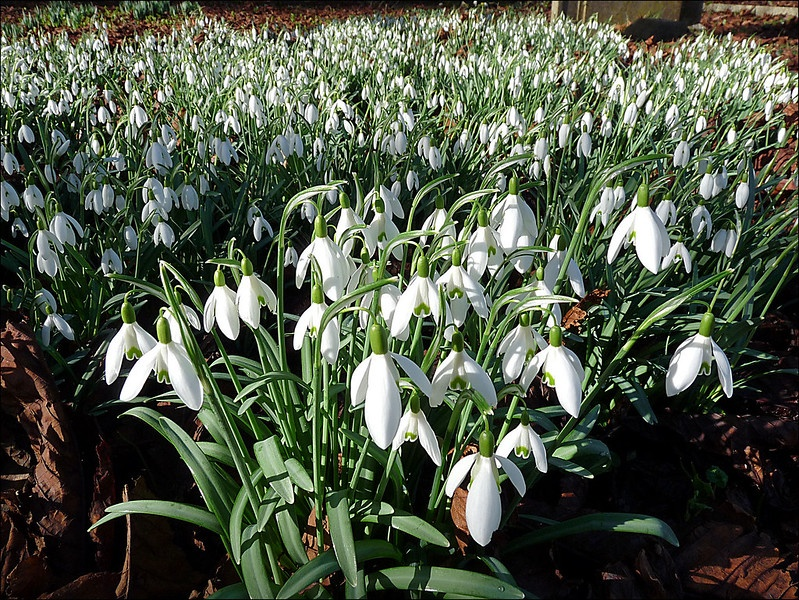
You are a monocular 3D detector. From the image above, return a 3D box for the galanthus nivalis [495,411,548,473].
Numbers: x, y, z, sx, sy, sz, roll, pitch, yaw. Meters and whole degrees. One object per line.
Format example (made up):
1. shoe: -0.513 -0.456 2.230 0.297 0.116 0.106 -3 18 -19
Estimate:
1. galanthus nivalis: 0.300 0.320 1.554 0.093 0.124 0.083 6 1 24
